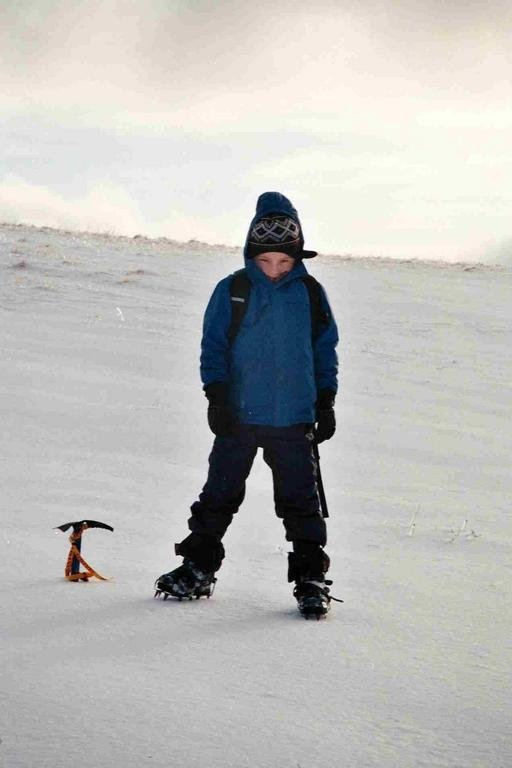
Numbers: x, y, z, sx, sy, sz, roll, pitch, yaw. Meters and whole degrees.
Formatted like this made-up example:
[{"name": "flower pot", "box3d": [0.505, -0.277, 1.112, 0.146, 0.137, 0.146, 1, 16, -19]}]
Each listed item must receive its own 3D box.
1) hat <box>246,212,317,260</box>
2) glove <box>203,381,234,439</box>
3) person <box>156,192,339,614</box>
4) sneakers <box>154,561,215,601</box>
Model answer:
[{"name": "hat", "box3d": [0.074, -0.645, 3.805, 0.208, 0.167, 0.121, 5, 2, -10]}, {"name": "glove", "box3d": [-0.164, 0.110, 3.783, 0.141, 0.191, 0.218, 6, 2, 2]}, {"name": "person", "box3d": [0.042, 0.037, 3.785, 0.787, 1.595, 0.545, 6, 2, -7]}, {"name": "sneakers", "box3d": [-0.303, 0.831, 3.669, 0.285, 0.152, 0.109, 10, -13, -35]}]
